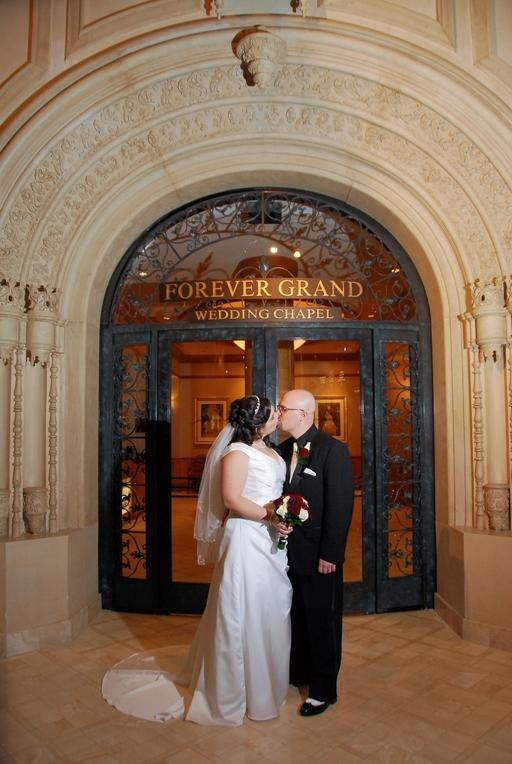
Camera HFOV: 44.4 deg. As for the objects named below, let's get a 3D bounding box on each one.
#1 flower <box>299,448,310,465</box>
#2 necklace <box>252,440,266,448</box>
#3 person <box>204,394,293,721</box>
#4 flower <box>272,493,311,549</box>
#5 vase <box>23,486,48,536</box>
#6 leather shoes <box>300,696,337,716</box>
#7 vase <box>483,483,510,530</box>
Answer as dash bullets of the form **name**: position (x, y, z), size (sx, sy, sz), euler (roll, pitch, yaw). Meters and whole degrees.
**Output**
- **flower**: position (0.262, 0.410, 3.450), size (0.074, 0.079, 0.029), euler (4, 3, 29)
- **necklace**: position (0.015, 0.330, 3.292), size (0.014, 0.051, 0.055), euler (-20, 0, 34)
- **person**: position (-0.061, 0.890, 3.229), size (0.478, 1.628, 0.471), euler (0, -4, -2)
- **flower**: position (0.158, 0.619, 2.987), size (0.168, 0.160, 0.122), euler (-1, -4, 8)
- **vase**: position (-1.631, 0.951, 4.615), size (0.222, 0.326, 0.210), euler (2, -11, -14)
- **leather shoes**: position (0.330, 1.675, 3.238), size (0.194, 0.078, 0.069), euler (14, -23, -27)
- **vase**: position (1.732, 0.896, 4.472), size (0.155, 0.328, 0.096), euler (-3, -5, 26)
